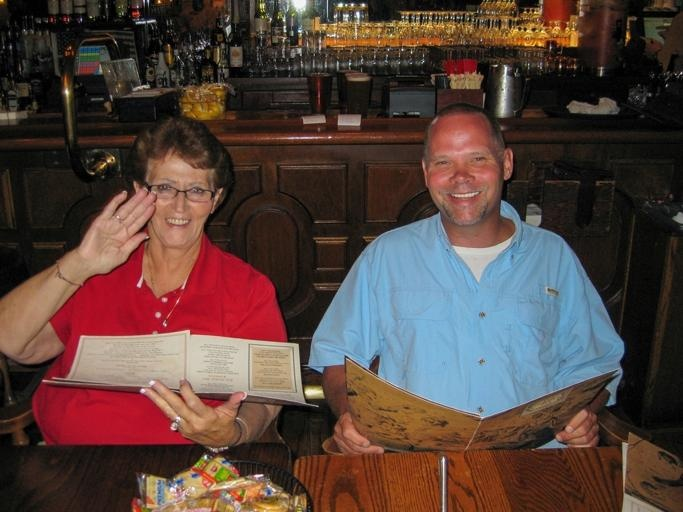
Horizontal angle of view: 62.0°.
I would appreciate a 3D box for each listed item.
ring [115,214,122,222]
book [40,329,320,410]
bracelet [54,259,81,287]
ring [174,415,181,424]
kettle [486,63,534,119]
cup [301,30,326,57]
[{"bbox_3d":[-0.655,-0.110,1.670,0.013,0.005,0.017,11,26,-11],"label":"ring"},{"bbox_3d":[-0.392,0.290,1.460,0.622,0.125,0.270,5,41,-5],"label":"book"},{"bbox_3d":[-0.790,0.056,1.637,0.058,0.088,0.043,-13,22,-27],"label":"bracelet"},{"bbox_3d":[-0.408,0.405,1.409,0.014,0.007,0.019,3,15,-6],"label":"ring"},{"bbox_3d":[0.931,-0.892,3.103,0.182,0.290,0.280,-19,29,-24],"label":"kettle"},{"bbox_3d":[-0.255,-1.946,5.261,0.213,0.236,0.221,0,13,0],"label":"cup"}]
